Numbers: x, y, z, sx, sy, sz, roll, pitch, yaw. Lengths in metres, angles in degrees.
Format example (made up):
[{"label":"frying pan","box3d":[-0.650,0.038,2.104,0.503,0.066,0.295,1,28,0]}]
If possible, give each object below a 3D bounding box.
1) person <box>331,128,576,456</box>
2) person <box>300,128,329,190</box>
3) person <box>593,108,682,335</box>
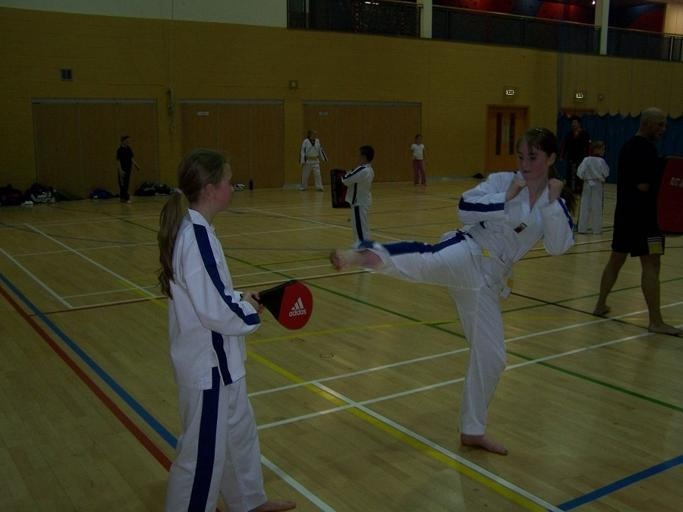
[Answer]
[{"label":"person","box3d":[0.847,0.266,3.659,1.405,2.107,0.398,-6,13,-24]},{"label":"person","box3d":[-0.980,-3.215,19.245,0.919,1.996,0.618,1,12,8]},{"label":"person","box3d":[3.130,-0.358,5.905,0.764,2.274,0.561,6,13,26]}]
